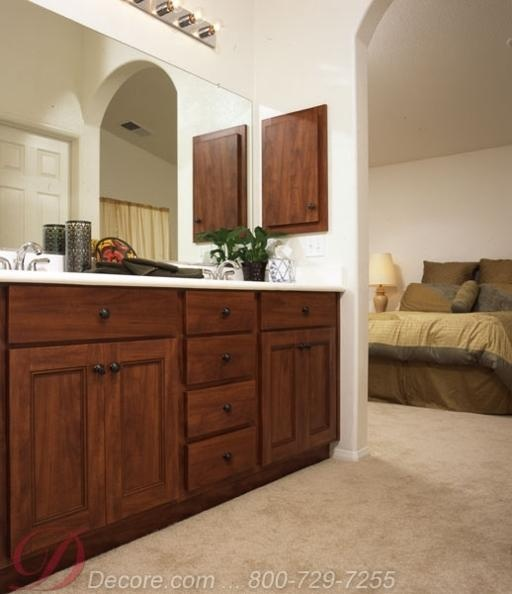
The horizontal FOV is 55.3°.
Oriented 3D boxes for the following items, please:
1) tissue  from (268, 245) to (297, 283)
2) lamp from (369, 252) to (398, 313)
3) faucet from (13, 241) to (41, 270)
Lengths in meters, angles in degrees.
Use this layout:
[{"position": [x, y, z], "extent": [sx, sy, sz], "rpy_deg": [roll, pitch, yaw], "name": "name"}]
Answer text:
[{"position": [0.116, -0.183, 2.434], "extent": [0.146, 0.237, 0.274], "rpy_deg": [0, -3, 2], "name": "tissue "}, {"position": [1.509, -0.168, 5.808], "extent": [0.307, 0.689, 0.546], "rpy_deg": [-1, -3, 17], "name": "lamp"}, {"position": [-0.708, -0.130, 1.490], "extent": [0.058, 0.103, 0.354], "rpy_deg": [2, -4, -27], "name": "faucet"}]
